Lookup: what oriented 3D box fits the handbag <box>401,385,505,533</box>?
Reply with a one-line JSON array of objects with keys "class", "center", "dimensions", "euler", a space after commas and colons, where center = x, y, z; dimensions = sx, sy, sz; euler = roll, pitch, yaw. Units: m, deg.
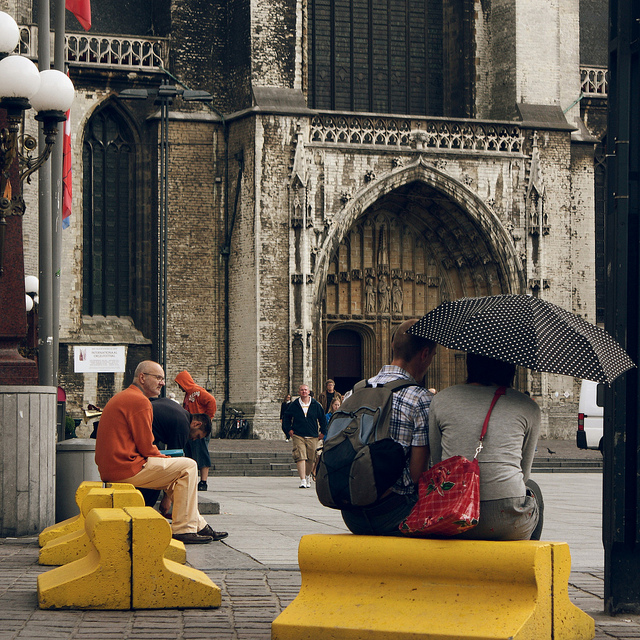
[{"class": "handbag", "center": [1.033, 1.156, 14.871], "dimensions": [0.731, 1.038, 0.337], "euler": [2, 0, 6]}]

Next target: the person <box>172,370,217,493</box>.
[{"class": "person", "center": [-1.587, 1.359, 23.912], "dimensions": [0.567, 1.526, 0.471], "euler": [-12, -12, 42]}]

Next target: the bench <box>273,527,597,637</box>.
[{"class": "bench", "center": [0.927, 2.076, 15.064], "dimensions": [2.226, 0.787, 0.568], "euler": [2, 0, 13]}]

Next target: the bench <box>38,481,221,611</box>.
[{"class": "bench", "center": [-1.837, 1.985, 16.618], "dimensions": [1.500, 1.022, 2.057], "euler": [2, 0, -22]}]

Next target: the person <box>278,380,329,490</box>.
[{"class": "person", "center": [-0.160, 1.473, 25.950], "dimensions": [0.660, 1.691, 0.716], "euler": [0, -1, -19]}]
